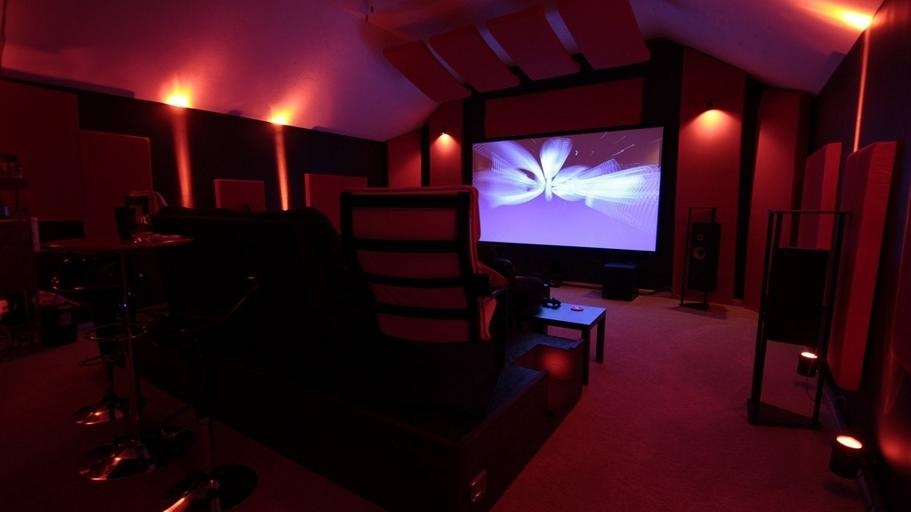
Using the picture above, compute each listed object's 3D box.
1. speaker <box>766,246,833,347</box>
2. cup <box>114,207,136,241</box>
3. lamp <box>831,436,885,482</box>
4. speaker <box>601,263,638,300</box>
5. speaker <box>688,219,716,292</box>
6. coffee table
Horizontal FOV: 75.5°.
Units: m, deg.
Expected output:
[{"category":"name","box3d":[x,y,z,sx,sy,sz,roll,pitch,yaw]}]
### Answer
[{"category":"speaker","box3d":[3.751,0.445,6.489,0.557,1.069,0.214,3,8,28]},{"category":"cup","box3d":[-3.454,-0.350,6.163,0.186,0.327,0.476,-4,8,-28]},{"category":"lamp","box3d":[4.058,2.062,6.038,0.429,0.425,0.279,-1,7,-6]},{"category":"speaker","box3d":[2.693,0.415,9.812,0.588,0.556,0.581,2,5,25]},{"category":"speaker","box3d":[3.857,-0.004,9.170,0.429,1.050,0.232,2,8,21]},{"category":"coffee table","box3d":[1.387,1.038,7.312,0.735,0.839,0.718,4,8,30]}]
